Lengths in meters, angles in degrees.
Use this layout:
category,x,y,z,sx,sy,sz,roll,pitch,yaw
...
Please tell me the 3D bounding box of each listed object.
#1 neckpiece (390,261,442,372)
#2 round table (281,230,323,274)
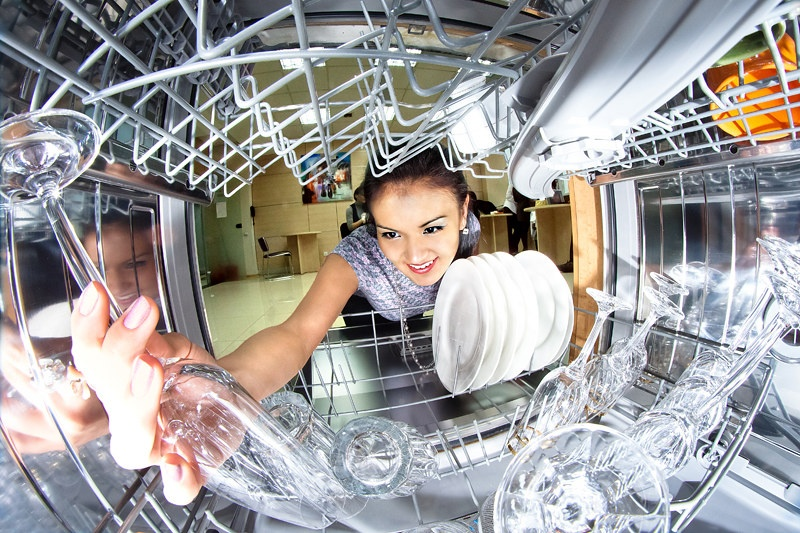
category,x,y,z,sx,sy,sz,roll,pitch,yaw
neckpiece,0.050,0.136,1.268,0.134,0.259,0.045,2,-29,-25
round table,-1.703,-0.290,7.184,0.795,0.916,0.778,-6,-4,0
